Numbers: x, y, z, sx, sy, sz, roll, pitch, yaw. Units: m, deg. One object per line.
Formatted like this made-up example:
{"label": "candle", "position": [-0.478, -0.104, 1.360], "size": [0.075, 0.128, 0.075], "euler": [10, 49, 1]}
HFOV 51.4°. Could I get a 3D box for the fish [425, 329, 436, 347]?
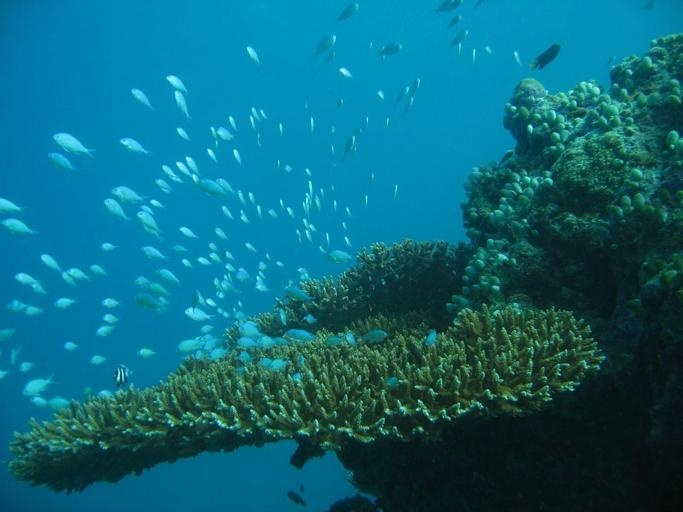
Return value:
{"label": "fish", "position": [2.055, 1.899, 16.233], "size": [0.237, 0.203, 0.450], "euler": [-11, 22, 27]}
